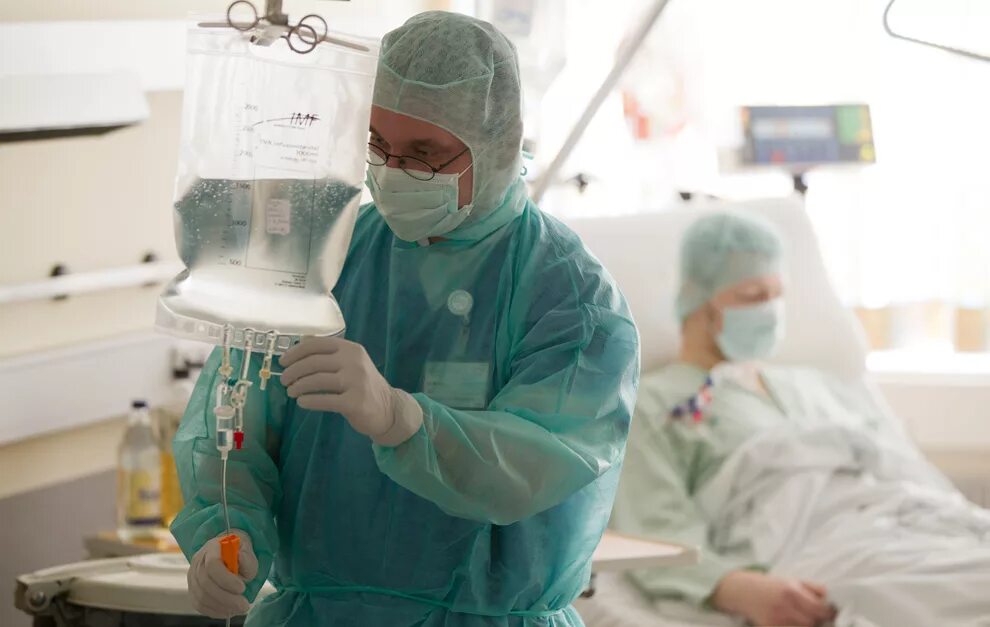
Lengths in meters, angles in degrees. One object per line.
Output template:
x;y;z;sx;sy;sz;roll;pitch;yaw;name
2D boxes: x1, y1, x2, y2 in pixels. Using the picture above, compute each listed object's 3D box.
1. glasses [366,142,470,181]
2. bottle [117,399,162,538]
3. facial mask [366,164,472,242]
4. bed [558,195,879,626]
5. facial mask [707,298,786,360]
-0.194;-0.326;2.013;0.115;0.034;0.119;16;15;17;glasses
-1.052;0.467;2.777;0.182;0.379;0.178;3;9;0;bottle
-0.174;-0.244;2.024;0.163;0.106;0.177;17;33;24;facial mask
0.926;0.250;3.653;1.319;1.158;1.245;-4;-11;-41;bed
0.868;0.053;3.213;0.207;0.175;0.207;-2;1;21;facial mask
